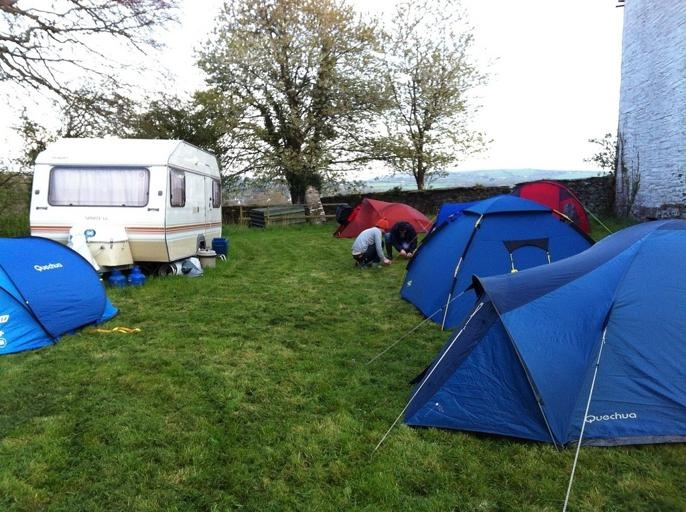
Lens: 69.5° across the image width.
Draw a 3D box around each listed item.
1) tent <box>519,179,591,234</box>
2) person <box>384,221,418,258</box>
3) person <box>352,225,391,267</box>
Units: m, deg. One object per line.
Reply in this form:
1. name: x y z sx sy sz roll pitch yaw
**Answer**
1. tent: 5.052 -1.429 12.682 2.102 1.288 2.105 1 10 32
2. person: 1.425 -0.433 12.366 0.814 1.023 1.097 0 9 2
3. person: 0.653 -0.316 11.935 0.906 0.769 1.031 1 14 3
